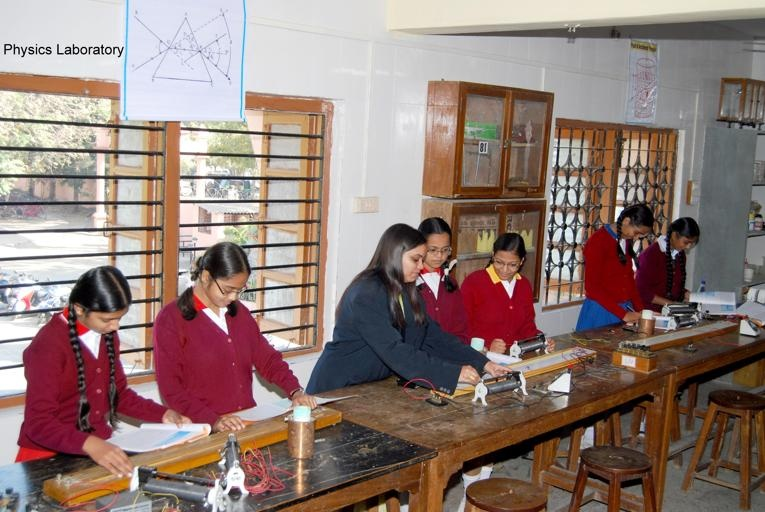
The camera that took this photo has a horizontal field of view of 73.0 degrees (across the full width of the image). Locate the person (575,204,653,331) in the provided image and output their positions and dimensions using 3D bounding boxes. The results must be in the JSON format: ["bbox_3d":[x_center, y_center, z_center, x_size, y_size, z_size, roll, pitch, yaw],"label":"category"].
[{"bbox_3d":[2.101,0.115,4.735,0.610,1.152,0.501,-2,7,4],"label":"person"}]

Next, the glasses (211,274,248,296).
[{"bbox_3d":[-0.770,0.139,2.569,0.124,0.040,0.121,31,21,30],"label":"glasses"}]

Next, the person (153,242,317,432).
[{"bbox_3d":[-0.790,0.436,2.696,0.660,0.955,0.693,17,17,37],"label":"person"}]

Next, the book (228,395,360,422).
[{"bbox_3d":[-0.453,0.757,2.634,0.530,0.024,0.146,-2,6,-40],"label":"book"}]

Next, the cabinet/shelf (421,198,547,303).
[{"bbox_3d":[0.794,-0.081,4.260,1.054,0.966,0.335,1,2,-45],"label":"cabinet/shelf"}]

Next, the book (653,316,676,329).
[{"bbox_3d":[2.393,0.562,4.391,0.114,0.082,0.120,5,-2,-33],"label":"book"}]

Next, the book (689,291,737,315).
[{"bbox_3d":[3.129,0.446,4.935,0.585,0.188,0.248,-3,6,-7],"label":"book"}]

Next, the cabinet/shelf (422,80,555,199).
[{"bbox_3d":[0.921,-1.083,4.759,1.157,0.947,0.397,-5,11,-40],"label":"cabinet/shelf"}]
